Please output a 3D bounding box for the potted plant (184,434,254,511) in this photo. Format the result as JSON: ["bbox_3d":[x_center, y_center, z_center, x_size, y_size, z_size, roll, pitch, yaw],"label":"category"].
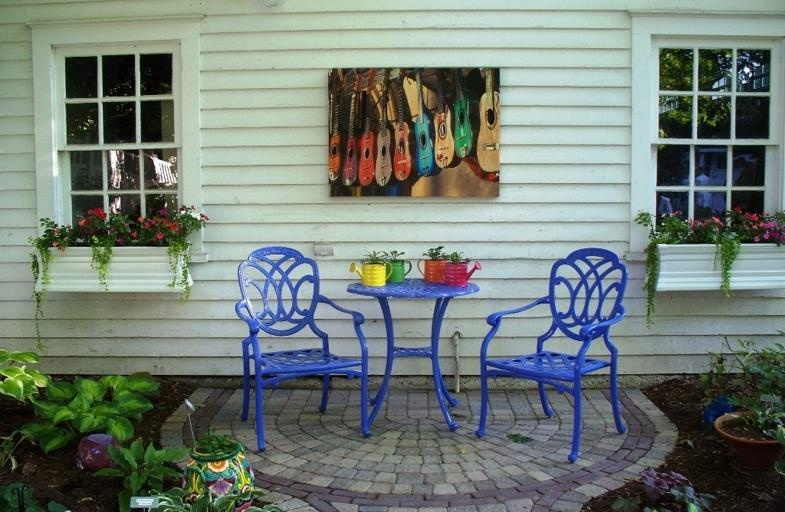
[{"bbox_3d":[-1.231,1.554,6.278,0.602,0.559,0.538,-2,-11,4],"label":"potted plant"}]

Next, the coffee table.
[{"bbox_3d":[0.168,0.833,7.641,1.219,0.944,1.056,5,2,21],"label":"coffee table"}]

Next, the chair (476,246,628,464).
[{"bbox_3d":[1.370,0.746,7.506,1.201,1.626,1.437,0,6,13],"label":"chair"}]
